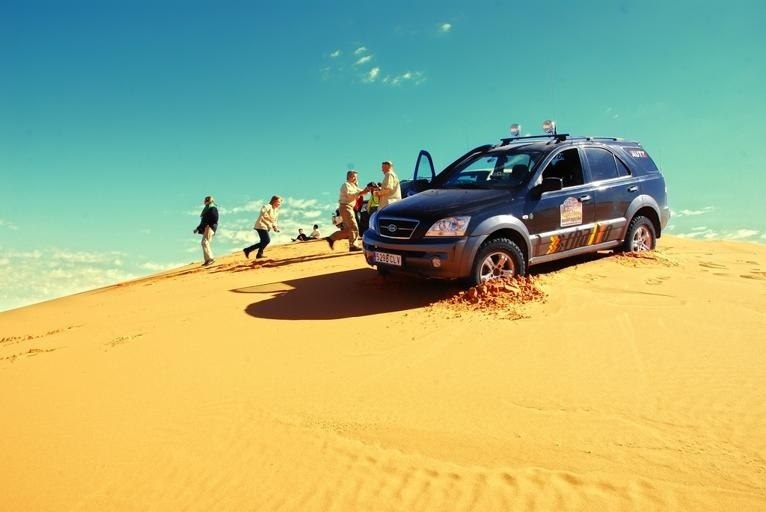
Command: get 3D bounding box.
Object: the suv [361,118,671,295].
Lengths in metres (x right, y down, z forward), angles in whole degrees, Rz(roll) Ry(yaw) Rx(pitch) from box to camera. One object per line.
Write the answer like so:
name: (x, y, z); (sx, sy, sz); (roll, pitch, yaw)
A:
suv: (2.606, -0.874, 9.933); (5.500, 2.116, 2.891); (-2, -1, -32)
